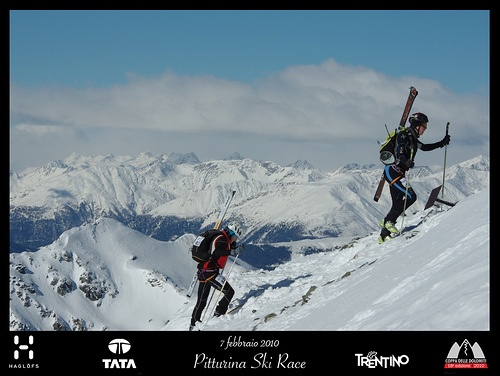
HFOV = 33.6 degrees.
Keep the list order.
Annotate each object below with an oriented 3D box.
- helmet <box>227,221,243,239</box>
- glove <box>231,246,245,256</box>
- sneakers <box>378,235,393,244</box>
[{"bbox_3d":[-0.610,1.529,30.334,0.551,0.593,0.473,-31,8,1],"label":"helmet"},{"bbox_3d":[-0.449,2.260,29.825,0.369,0.120,0.368,-31,12,-14],"label":"glove"},{"bbox_3d":[5.459,2.020,33.612,0.624,0.288,0.215,-27,14,23],"label":"sneakers"}]
